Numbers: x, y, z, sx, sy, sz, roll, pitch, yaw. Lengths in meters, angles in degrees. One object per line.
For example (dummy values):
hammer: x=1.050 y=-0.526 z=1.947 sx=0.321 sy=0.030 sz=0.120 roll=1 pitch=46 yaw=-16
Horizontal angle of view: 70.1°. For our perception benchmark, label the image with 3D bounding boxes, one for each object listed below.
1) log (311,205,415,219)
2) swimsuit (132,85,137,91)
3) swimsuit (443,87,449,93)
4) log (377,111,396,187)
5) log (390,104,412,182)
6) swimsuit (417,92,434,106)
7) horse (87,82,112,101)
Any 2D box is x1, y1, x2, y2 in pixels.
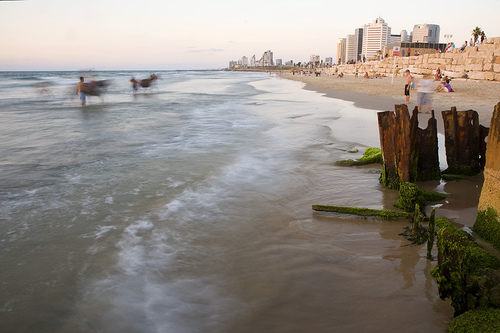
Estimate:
log: x=2.425 y=1.018 z=7.847 sx=2.311 sy=0.181 sz=0.278 roll=3 pitch=1 yaw=18
swimsuit: x=-12.295 y=-8.528 z=38.188 sx=0.455 sy=0.307 sz=0.555 roll=12 pitch=-23 yaw=-14
swimsuit: x=14.516 y=-5.856 z=26.876 sx=0.673 sy=0.276 sz=0.820 roll=-1 pitch=17 yaw=25
log: x=3.414 y=-0.430 z=9.043 sx=0.590 sy=1.836 sz=0.219 roll=-3 pitch=-3 yaw=-12
log: x=3.594 y=-0.563 z=8.674 sx=0.237 sy=1.840 sz=0.697 roll=-5 pitch=16 yaw=-13
swimsuit: x=8.136 y=-3.215 z=16.899 sx=0.604 sy=0.639 sz=1.052 roll=4 pitch=15 yaw=20
horse: x=-11.274 y=-5.863 z=26.589 sx=0.992 sy=0.937 sz=1.642 roll=0 pitch=14 yaw=4
